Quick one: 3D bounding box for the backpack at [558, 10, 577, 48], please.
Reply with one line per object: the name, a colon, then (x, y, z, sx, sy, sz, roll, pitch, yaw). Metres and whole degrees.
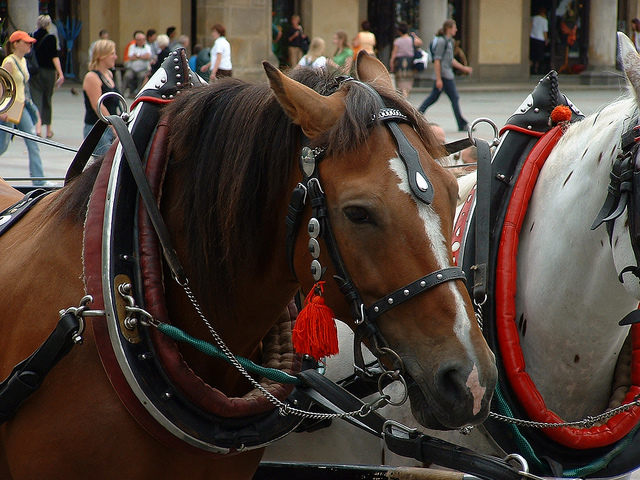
backpack: (5.346, -4.497, 25.078, 0.465, 0.693, 0.190, 0, 3, -28)
